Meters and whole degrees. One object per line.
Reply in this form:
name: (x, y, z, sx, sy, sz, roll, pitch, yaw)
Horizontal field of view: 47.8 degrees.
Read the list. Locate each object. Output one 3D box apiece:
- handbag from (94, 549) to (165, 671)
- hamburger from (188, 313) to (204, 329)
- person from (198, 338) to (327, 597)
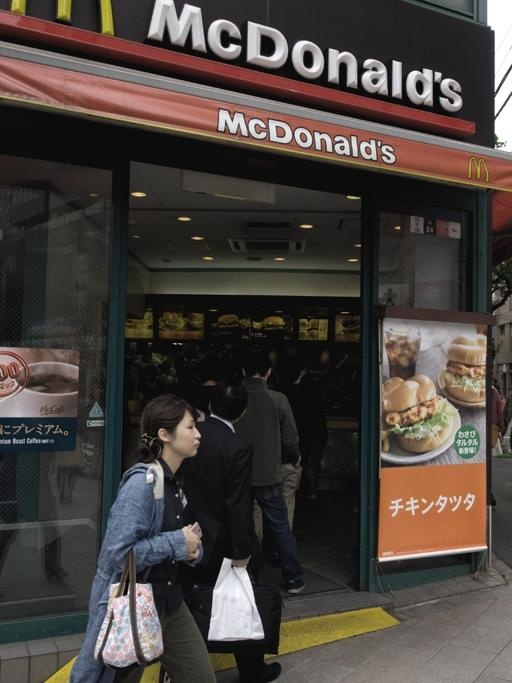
handbag: (-0.373, 0.802, 1.780, 0.136, 0.331, 0.252, -8, -21, 6)
hamburger: (-1.174, -0.406, 11.487, 0.291, 0.319, 0.299, -3, 8, -19)
person: (0.099, 0.897, 4.667, 0.622, 2.041, 0.426, 1, -2, -5)
